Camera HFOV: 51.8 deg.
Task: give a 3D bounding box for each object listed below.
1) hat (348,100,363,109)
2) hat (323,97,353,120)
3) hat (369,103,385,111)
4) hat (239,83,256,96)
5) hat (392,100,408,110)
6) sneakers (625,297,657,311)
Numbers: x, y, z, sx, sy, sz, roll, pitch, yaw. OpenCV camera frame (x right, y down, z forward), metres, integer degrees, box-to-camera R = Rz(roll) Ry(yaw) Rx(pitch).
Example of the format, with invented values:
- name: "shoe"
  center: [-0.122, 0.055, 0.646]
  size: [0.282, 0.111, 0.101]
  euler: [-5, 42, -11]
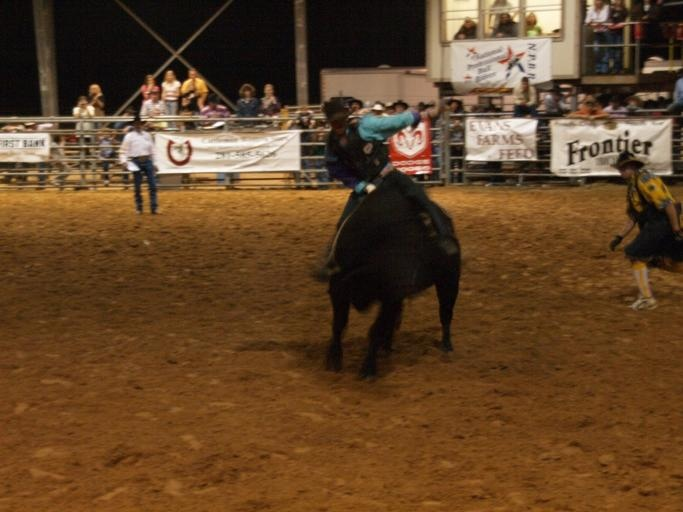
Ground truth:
- name: "hat"
  center: [0.319, -3.484, 16.216]
  size: [0.440, 0.263, 0.090]
  euler: [-6, 10, -9]
- name: "hat"
  center: [-0.046, -1.352, 6.464]
  size: [0.228, 0.223, 0.332]
  euler: [-2, 10, -2]
- name: "hat"
  center: [0.790, -3.283, 15.555]
  size: [0.374, 0.083, 0.323]
  euler: [1, 8, 11]
- name: "hat"
  center: [-2.361, -4.113, 17.549]
  size: [0.292, 0.313, 0.560]
  euler: [-4, 10, -14]
- name: "hat"
  center: [1.287, -3.327, 15.702]
  size: [0.460, 0.119, 0.400]
  euler: [-1, -8, 2]
- name: "sneakers"
  center: [3.589, 0.586, 8.412]
  size: [0.299, 0.083, 0.177]
  euler: [-1, 1, 4]
